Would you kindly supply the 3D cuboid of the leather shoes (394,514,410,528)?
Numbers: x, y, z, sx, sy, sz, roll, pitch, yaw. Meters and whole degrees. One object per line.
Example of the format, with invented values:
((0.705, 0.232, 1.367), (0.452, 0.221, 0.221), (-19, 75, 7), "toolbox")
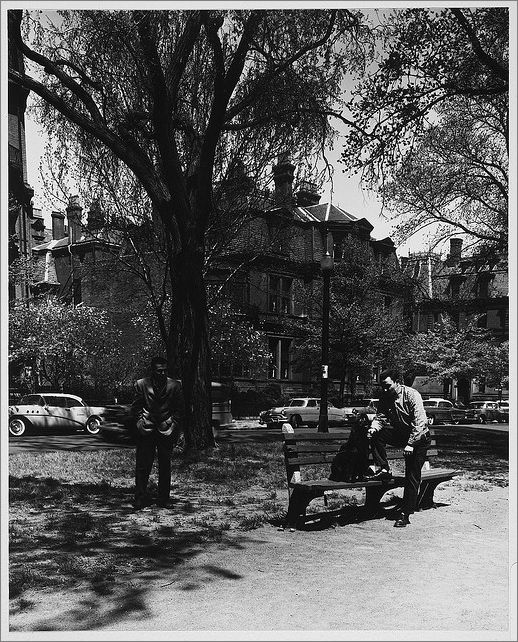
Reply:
((1.783, 2.487, 11.272), (0.182, 0.161, 0.329), (1, 1, 12), "leather shoes")

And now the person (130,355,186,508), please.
((-1.340, 1.483, 11.860), (0.653, 2.018, 0.555), (0, 2, -9), "person")

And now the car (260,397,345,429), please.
((1.466, 3.093, 30.070), (2.508, 1.000, 1.183), (5, -10, -33), "car")

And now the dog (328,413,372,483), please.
((1.150, 1.575, 11.200), (0.352, 0.788, 0.698), (2, 2, 38), "dog")

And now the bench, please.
((1.547, 2.024, 11.614), (2.734, 1.321, 0.792), (3, -3, -38), "bench")
